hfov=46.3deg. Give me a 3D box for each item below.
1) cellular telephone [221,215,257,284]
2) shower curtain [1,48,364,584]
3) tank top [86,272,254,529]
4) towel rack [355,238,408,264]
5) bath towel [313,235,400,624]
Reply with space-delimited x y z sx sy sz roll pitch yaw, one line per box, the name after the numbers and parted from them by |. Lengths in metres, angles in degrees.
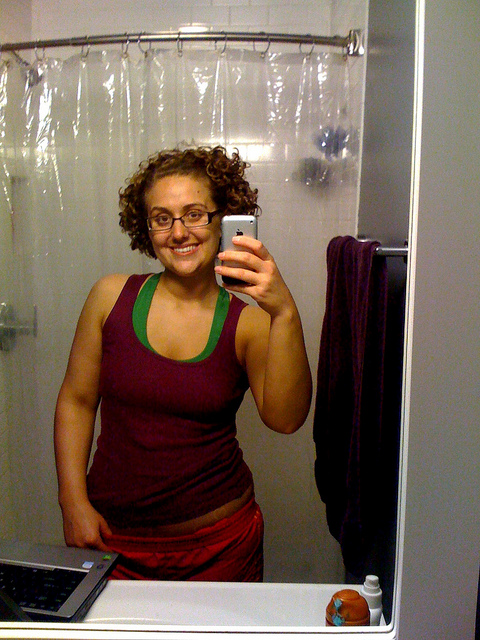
-0.001 -0.096 0.811 0.055 0.014 0.133 -1 55 -1 | cellular telephone
-0.079 0.023 0.934 0.662 1.163 0.085 0 -1 6 | shower curtain
-0.115 0.147 0.970 0.229 0.432 0.186 8 -1 -11 | tank top
0.225 -0.111 0.888 0.017 0.049 0.128 -3 13 -13 | towel rack
0.204 0.153 0.875 0.106 0.559 0.237 -1 9 -18 | bath towel
